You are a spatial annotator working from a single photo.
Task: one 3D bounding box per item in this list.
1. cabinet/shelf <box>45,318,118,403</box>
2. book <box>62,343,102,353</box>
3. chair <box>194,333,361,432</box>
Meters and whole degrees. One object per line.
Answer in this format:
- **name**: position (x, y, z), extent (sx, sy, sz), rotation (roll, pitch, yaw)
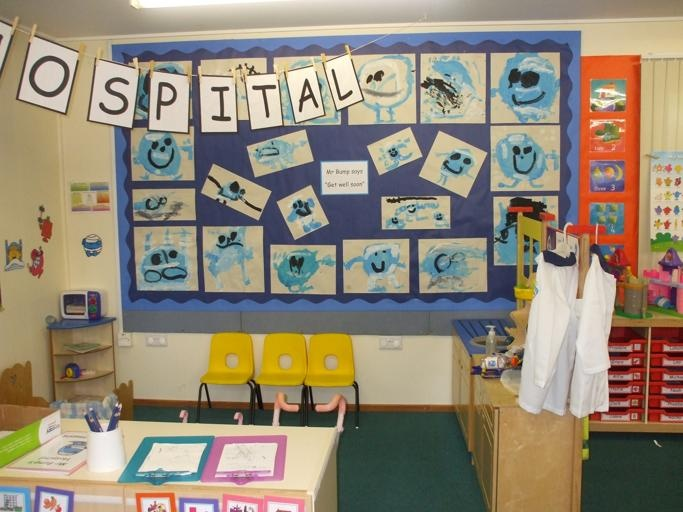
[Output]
- **cabinet/shelf**: position (-2.470, 0.976, 5.402), extent (0.584, 0.723, 0.377), rotation (-2, 1, -10)
- **book**: position (-2.454, 0.858, 5.353), extent (0.325, 0.085, 0.249), rotation (-3, 1, -24)
- **chair**: position (-0.577, 1.131, 5.236), extent (1.452, 0.591, 0.553), rotation (-2, 1, 2)
